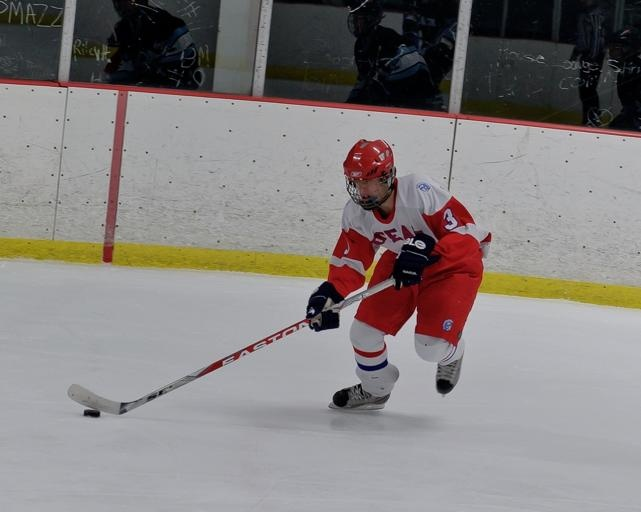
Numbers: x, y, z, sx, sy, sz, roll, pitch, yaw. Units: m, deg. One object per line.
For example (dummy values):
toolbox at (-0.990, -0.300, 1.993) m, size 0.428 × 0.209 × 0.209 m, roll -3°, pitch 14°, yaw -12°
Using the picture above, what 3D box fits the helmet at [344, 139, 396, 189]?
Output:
helmet at (0.243, -0.463, 4.209) m, size 0.246 × 0.220 × 0.211 m, roll 7°, pitch 7°, yaw -9°

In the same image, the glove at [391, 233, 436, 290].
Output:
glove at (0.446, 0.026, 4.128) m, size 0.152 × 0.268 × 0.120 m, roll 11°, pitch 7°, yaw 9°

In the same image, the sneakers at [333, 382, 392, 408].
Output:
sneakers at (0.187, 0.706, 4.352) m, size 0.335 × 0.105 × 0.108 m, roll 3°, pitch 11°, yaw -3°

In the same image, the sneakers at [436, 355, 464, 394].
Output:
sneakers at (0.645, 0.609, 4.383) m, size 0.088 × 0.239 × 0.112 m, roll 17°, pitch 8°, yaw 34°
